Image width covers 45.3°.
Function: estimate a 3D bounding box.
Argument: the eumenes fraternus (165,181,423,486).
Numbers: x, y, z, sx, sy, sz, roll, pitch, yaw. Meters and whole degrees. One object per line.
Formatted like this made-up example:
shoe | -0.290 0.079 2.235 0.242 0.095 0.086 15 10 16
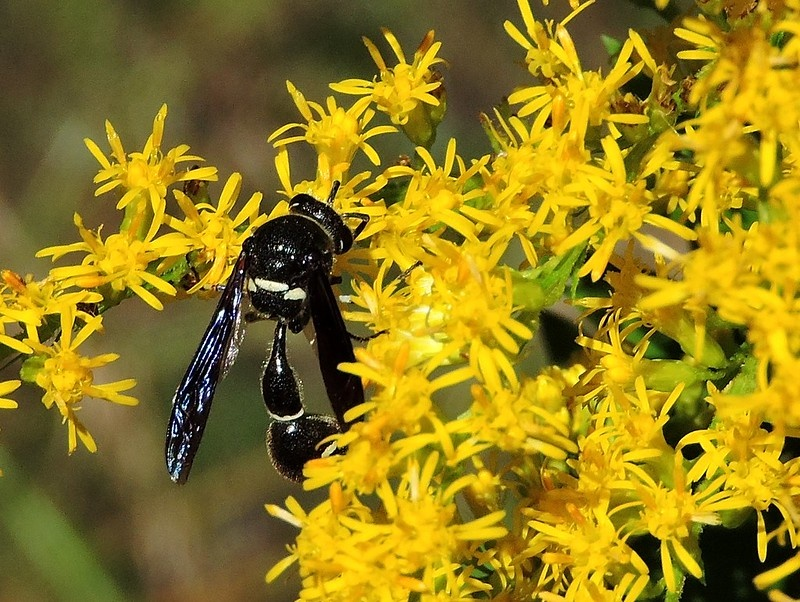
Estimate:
eumenes fraternus | -0.326 -0.045 2.749 0.532 0.496 1.057 4 102 8
